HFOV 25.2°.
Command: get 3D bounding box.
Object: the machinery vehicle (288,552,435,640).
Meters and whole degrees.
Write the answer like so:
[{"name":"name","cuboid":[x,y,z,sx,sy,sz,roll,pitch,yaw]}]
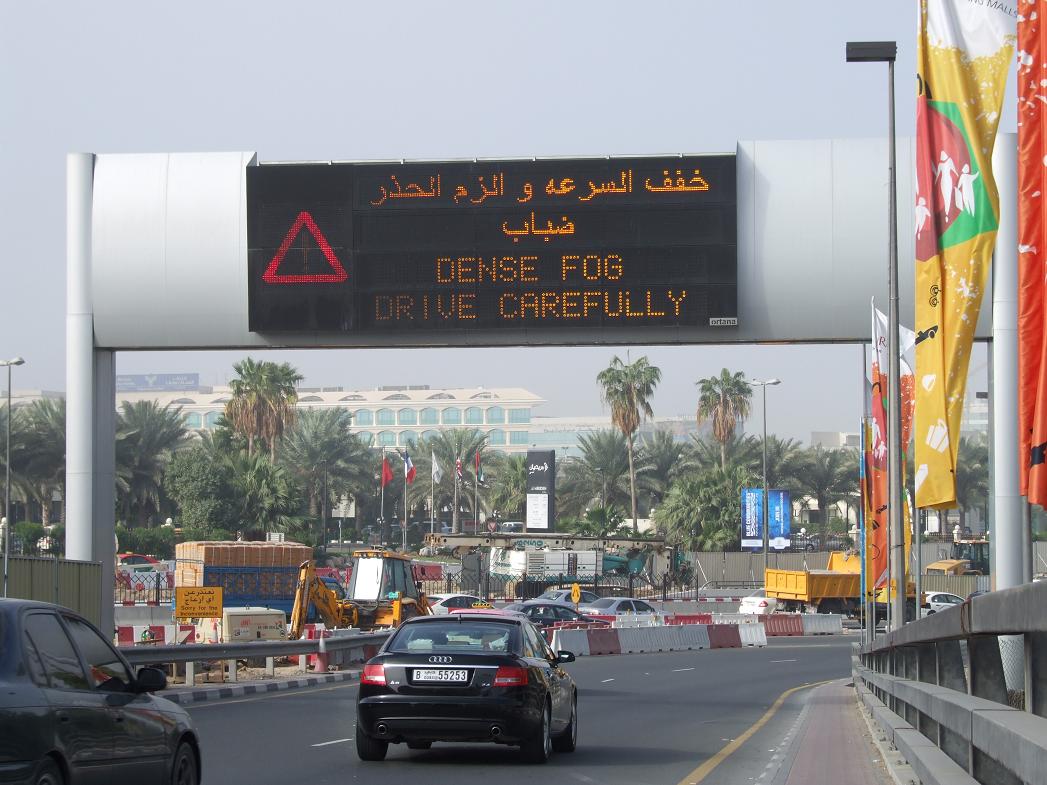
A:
[{"name":"machinery vehicle","cuboid":[-3.784,4.783,55.429,1.428,2.527,5.320,1,0,24]}]
